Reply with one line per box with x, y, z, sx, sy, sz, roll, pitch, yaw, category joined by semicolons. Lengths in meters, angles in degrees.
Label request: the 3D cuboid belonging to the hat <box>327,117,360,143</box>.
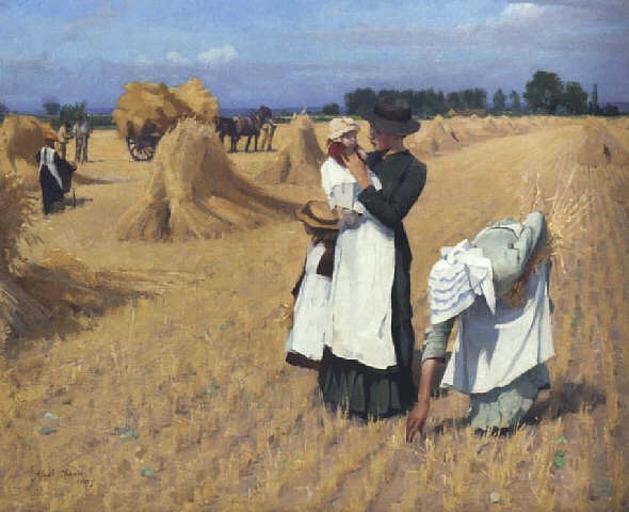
0.213;-0.928;5.943;0.184;0.073;0.159;-42;23;-30;hat

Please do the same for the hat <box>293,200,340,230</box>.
0.034;-0.310;6.320;0.211;0.080;0.269;8;36;-7;hat
